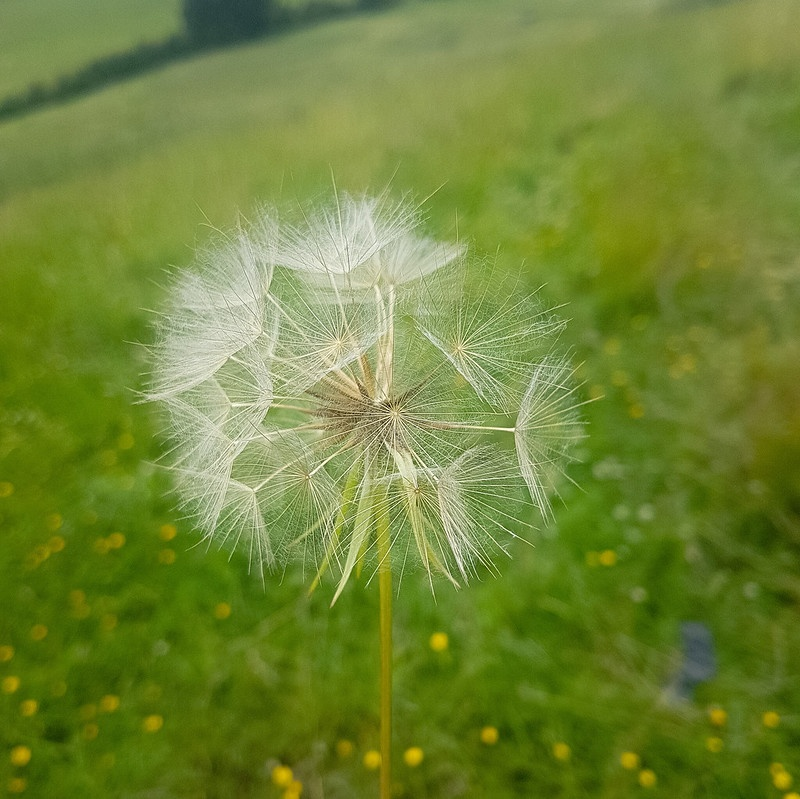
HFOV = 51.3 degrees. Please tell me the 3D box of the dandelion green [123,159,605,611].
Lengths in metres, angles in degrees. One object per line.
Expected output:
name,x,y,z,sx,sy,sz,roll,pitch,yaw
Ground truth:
dandelion green,-0.097,0.080,2.662,1.264,0.917,1.071,1,61,9
